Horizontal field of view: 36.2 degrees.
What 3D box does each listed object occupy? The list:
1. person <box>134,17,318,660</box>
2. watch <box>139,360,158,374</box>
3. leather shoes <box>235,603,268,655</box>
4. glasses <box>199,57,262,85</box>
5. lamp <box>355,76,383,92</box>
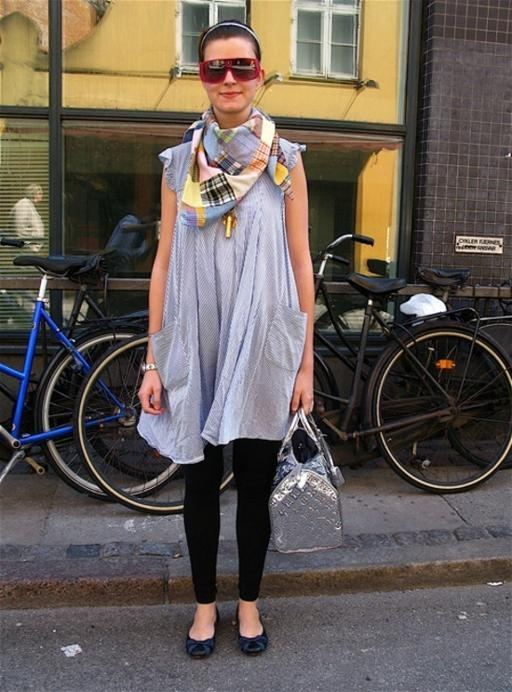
[{"bbox_3d":[-0.112,0.161,2.641,0.606,1.892,0.382,1,15,3],"label":"person"},{"bbox_3d":[-0.403,0.079,2.922,0.096,0.039,0.113,1,-6,-18],"label":"watch"},{"bbox_3d":[-0.019,1.018,2.796,0.122,0.042,0.329,-1,19,-7],"label":"leather shoes"},{"bbox_3d":[-0.082,-0.860,2.451,0.189,0.080,0.083,0,13,-2],"label":"glasses"},{"bbox_3d":[0.713,-1.676,5.025,0.152,0.081,0.028,0,14,2],"label":"lamp"}]
